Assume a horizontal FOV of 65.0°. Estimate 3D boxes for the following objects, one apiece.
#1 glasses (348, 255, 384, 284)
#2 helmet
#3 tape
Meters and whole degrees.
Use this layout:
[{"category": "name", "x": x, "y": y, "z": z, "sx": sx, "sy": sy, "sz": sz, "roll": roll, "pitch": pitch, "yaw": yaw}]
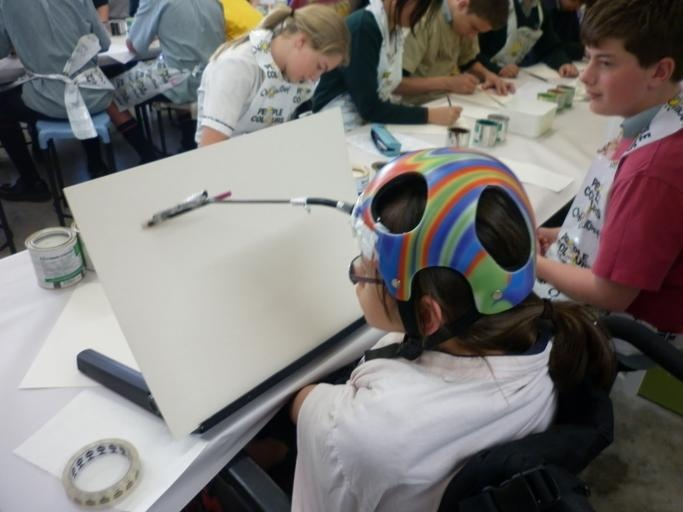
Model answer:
[{"category": "glasses", "x": 0.049, "y": 0.031, "z": 1.161, "sx": 0.058, "sy": 0.018, "sz": 0.066, "roll": 6, "pitch": 57, "yaw": 4}, {"category": "helmet", "x": 0.215, "y": -0.052, "z": 1.146, "sx": 0.335, "sy": 0.288, "sz": 0.287, "roll": 8, "pitch": 46, "yaw": 12}, {"category": "tape", "x": -0.489, "y": 0.449, "z": 1.102, "sx": 0.151, "sy": 0.060, "sz": 0.119, "roll": -13, "pitch": 40, "yaw": -18}]
